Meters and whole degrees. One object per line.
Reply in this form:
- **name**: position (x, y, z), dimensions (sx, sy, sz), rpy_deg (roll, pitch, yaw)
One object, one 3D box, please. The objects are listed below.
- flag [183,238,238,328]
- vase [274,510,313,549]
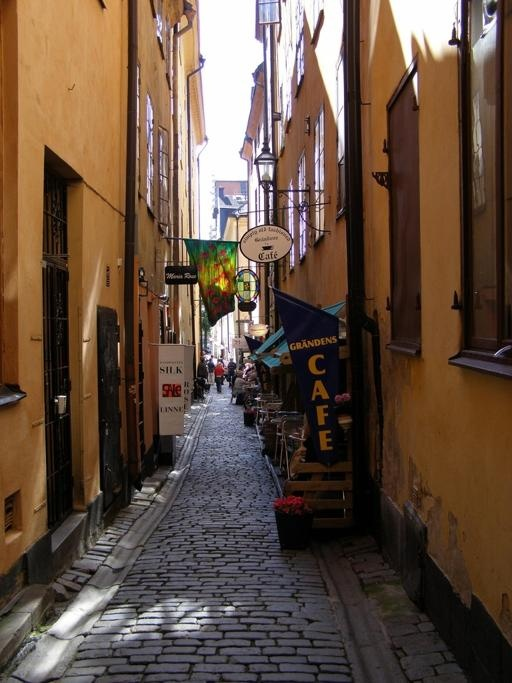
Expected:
- **flag**: position (-0.868, -1.262, 13.012), dimensions (0.912, 1.642, 0.322), rpy_deg (0, -2, -3)
- **vase**: position (0.384, 1.884, 6.263), dimensions (0.230, 0.363, 0.355), rpy_deg (-1, -9, 5)
